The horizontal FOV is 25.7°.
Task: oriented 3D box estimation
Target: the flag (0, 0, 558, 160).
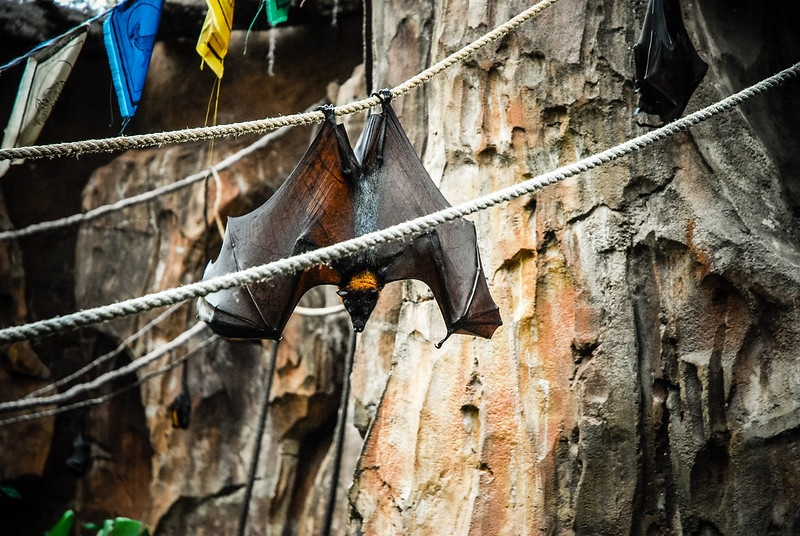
[{"bbox_3d":[-1.098,-1.976,18.149,6.016,0.953,0.155,-15,16,8],"label":"flag"}]
